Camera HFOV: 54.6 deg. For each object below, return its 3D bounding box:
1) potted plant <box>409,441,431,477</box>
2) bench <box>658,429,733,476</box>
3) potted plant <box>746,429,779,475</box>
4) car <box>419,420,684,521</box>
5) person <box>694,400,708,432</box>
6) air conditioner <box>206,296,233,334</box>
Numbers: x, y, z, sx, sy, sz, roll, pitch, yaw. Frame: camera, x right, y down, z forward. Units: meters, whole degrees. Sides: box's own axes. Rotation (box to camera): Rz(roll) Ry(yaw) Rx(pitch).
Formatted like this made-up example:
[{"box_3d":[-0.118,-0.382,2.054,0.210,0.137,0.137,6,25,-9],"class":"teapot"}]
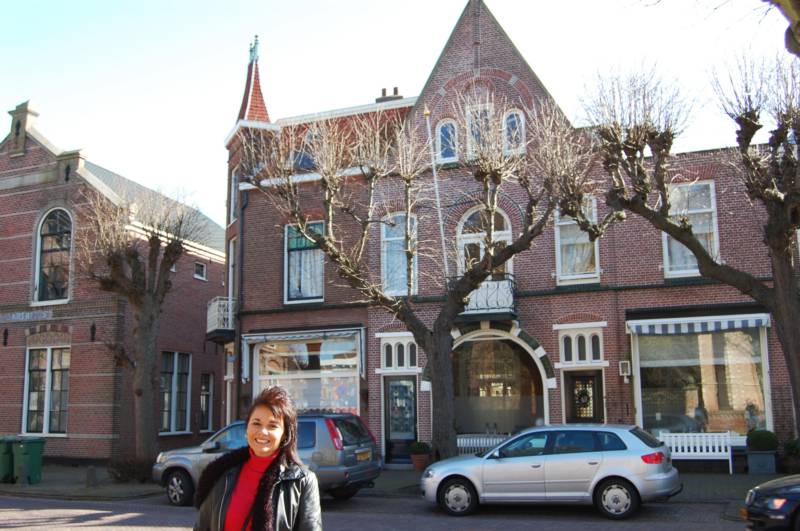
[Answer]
[{"box_3d":[0.491,6.047,24.269,0.823,1.064,0.940,-2,-14,16],"class":"potted plant"},{"box_3d":[8.379,5.334,21.810,1.737,1.053,0.553,-6,-16,25],"class":"bench"},{"box_3d":[10.400,5.365,22.186,0.939,1.197,0.824,-7,-19,31],"class":"potted plant"},{"box_3d":[3.503,4.943,18.837,5.446,1.777,2.369,-2,-15,13],"class":"car"},{"box_3d":[9.060,4.522,23.303,0.357,0.924,0.100,-5,-15,10],"class":"person"},{"box_3d":[-6.694,1.867,28.960,0.754,1.223,1.300,5,-15,-33],"class":"air conditioner"}]
